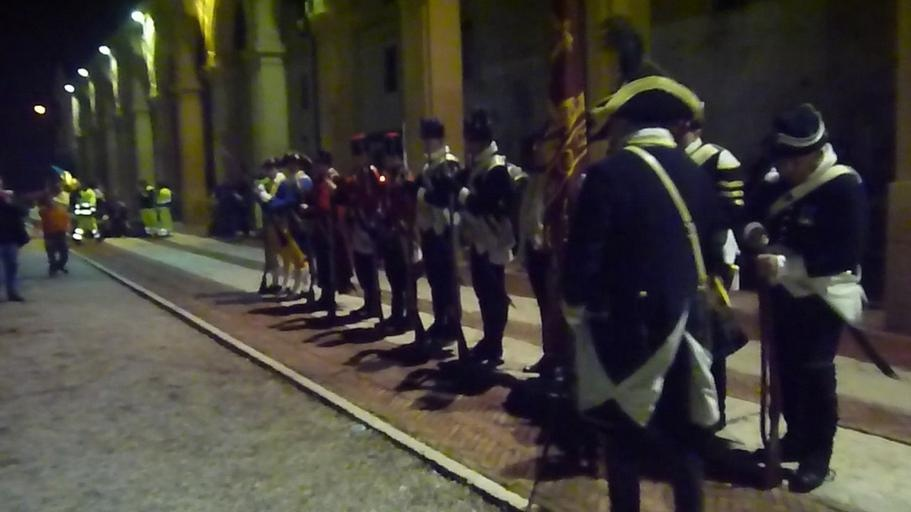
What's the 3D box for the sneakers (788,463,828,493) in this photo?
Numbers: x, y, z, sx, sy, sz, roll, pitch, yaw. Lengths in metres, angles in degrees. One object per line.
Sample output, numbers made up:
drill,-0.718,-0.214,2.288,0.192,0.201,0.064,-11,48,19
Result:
sneakers,3.828,2.401,7.933,0.394,0.288,0.107,-7,1,-3
